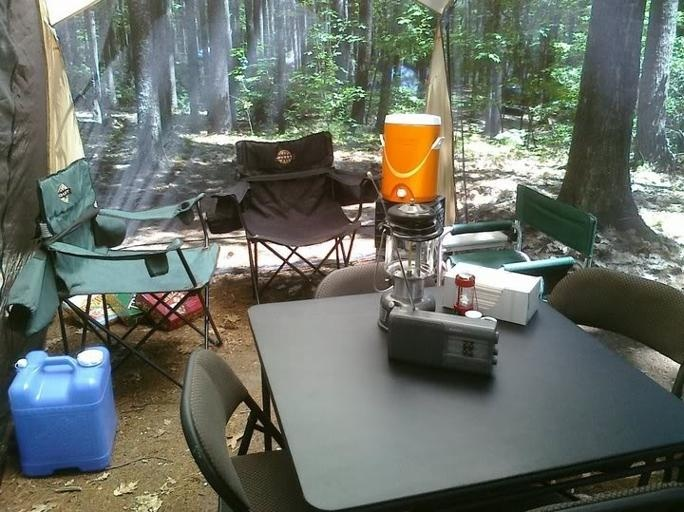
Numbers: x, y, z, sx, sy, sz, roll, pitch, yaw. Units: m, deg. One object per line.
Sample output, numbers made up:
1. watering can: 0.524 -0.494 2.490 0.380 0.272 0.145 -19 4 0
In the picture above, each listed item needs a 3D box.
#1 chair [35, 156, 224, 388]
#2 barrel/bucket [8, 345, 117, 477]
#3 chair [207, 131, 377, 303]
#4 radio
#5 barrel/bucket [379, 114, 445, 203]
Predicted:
1. chair: -1.303 -0.063 3.146 0.973 1.408 1.064 1 18 -5
2. barrel/bucket: -1.358 0.762 2.630 0.409 0.576 0.254 -3 19 -8
3. chair: -0.334 -0.263 4.213 1.372 1.203 0.894 -8 23 -11
4. radio: 0.338 0.276 1.817 0.336 0.193 0.123 7 27 14
5. barrel/bucket: 0.494 -0.747 3.908 0.485 0.648 0.411 7 24 16
